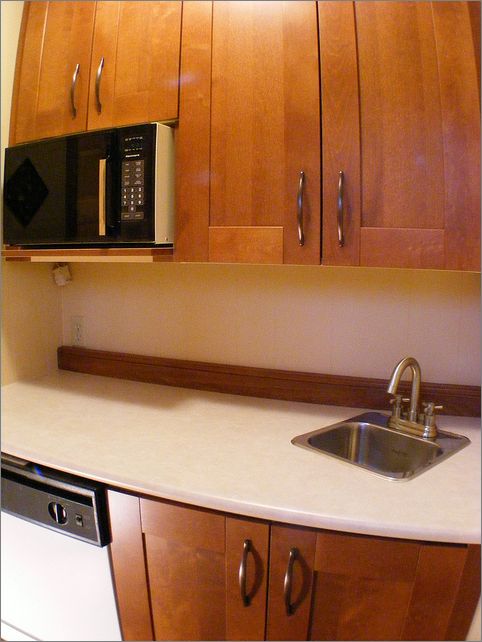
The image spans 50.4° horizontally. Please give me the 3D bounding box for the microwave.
[{"bbox_3d":[-0.489,-0.391,1.526,0.630,0.337,0.148,2,-7,23],"label":"microwave"}]

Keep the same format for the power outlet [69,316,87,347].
[{"bbox_3d":[-0.670,0.042,2.084,0.084,0.118,0.039,-1,-8,35],"label":"power outlet"}]

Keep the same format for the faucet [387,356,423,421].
[{"bbox_3d":[0.444,0.173,1.336,0.057,0.167,0.220,-1,-12,32],"label":"faucet"}]
